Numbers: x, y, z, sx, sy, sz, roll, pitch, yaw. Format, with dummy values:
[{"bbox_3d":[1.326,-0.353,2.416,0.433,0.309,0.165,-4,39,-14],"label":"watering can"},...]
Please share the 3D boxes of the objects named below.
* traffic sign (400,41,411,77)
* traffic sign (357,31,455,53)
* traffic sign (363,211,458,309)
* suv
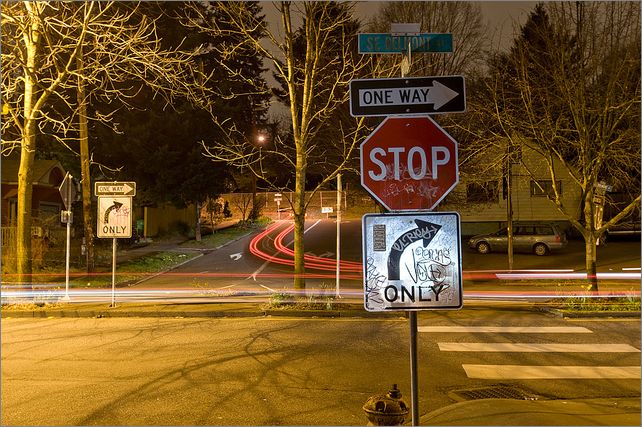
[{"bbox_3d":[1.696,-3.045,11.872,0.151,0.718,0.296,1,5,9],"label":"traffic sign"},{"bbox_3d":[1.695,-3.421,12.060,1.897,0.448,0.331,0,5,-1],"label":"traffic sign"},{"bbox_3d":[1.716,0.951,11.460,1.866,1.852,0.203,-1,1,-5],"label":"traffic sign"},{"bbox_3d":[12.154,1.595,37.034,5.112,1.798,2.153,1,0,16],"label":"suv"}]
